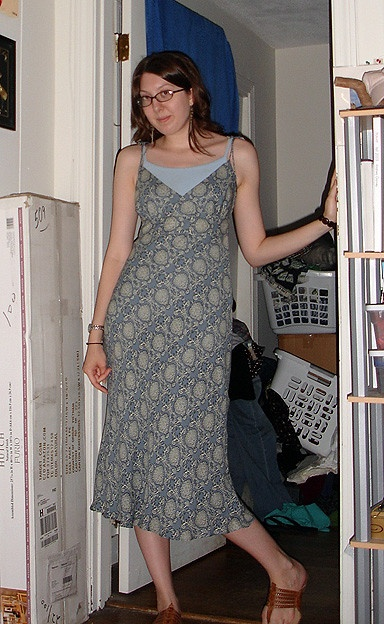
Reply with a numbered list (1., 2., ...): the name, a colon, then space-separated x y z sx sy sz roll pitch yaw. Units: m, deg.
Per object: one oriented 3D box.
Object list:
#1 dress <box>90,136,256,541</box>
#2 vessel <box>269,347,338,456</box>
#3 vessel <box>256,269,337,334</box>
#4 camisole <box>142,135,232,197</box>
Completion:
1. dress: -0.003 0.091 1.379 0.464 1.133 0.252 8 25 8
2. vessel: 0.565 0.419 2.826 0.418 0.274 0.319 34 -5 -8
3. vessel: 0.546 -0.028 2.855 0.362 0.243 0.313 -1 -14 9
4. camisole: -0.009 -0.359 1.386 0.235 0.213 0.013 0 -41 6
